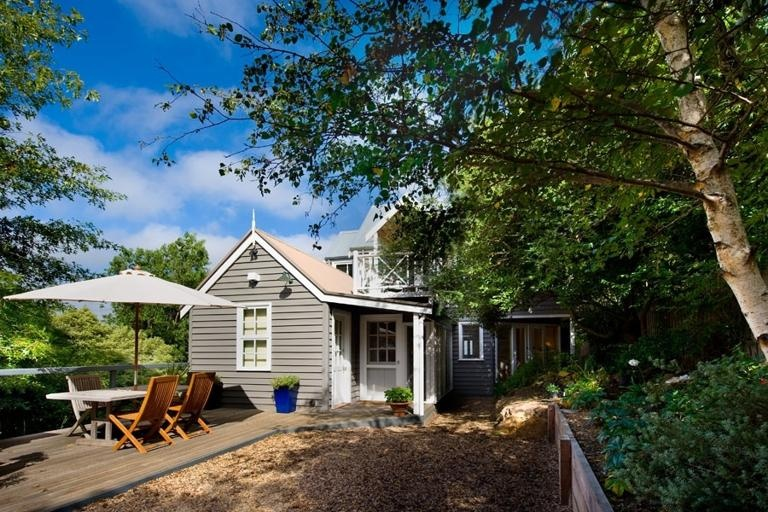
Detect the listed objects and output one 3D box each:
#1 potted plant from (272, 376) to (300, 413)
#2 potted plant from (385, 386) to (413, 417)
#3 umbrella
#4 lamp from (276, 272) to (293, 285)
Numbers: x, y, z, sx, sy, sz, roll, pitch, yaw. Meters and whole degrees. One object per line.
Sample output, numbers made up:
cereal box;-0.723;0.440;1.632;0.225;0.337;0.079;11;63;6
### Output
potted plant;-2.569;3.614;14.578;0.708;0.885;0.536;1;1;-12
potted plant;0.387;3.634;13.891;0.629;0.650;0.667;1;-18;-1
umbrella;-5.029;1.087;11.521;3.081;2.214;3.251;-2;-12;12
lamp;-2.710;0.598;15.380;0.478;0.393;0.087;1;1;32
